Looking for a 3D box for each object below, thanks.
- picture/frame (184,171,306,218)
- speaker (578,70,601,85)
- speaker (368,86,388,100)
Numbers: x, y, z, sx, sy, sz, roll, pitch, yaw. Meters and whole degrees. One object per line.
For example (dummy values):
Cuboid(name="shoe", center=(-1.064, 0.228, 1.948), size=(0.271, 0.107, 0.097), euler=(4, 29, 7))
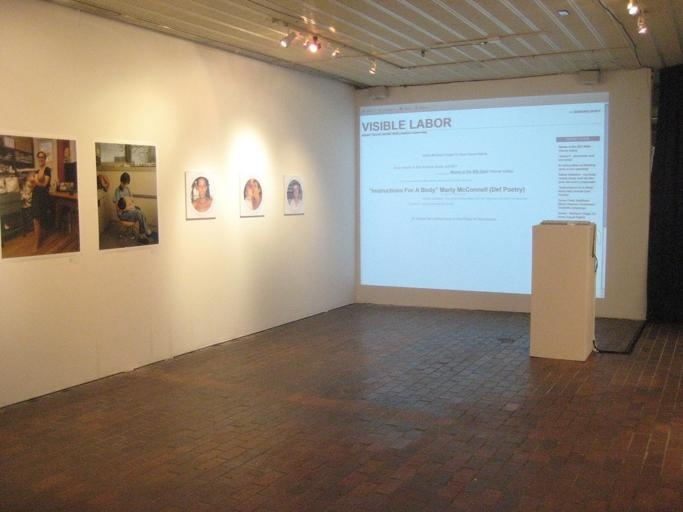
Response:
Cuboid(name="picture/frame", center=(-1.496, -0.955, 8.118), size=(0.075, 0.810, 2.411), euler=(3, 11, 33))
Cuboid(name="speaker", center=(4.313, -3.099, 8.900), size=(0.375, 0.227, 0.265), euler=(0, 1, 23))
Cuboid(name="speaker", center=(0.733, -3.289, 10.375), size=(0.360, 0.284, 0.213), euler=(6, 17, 19))
